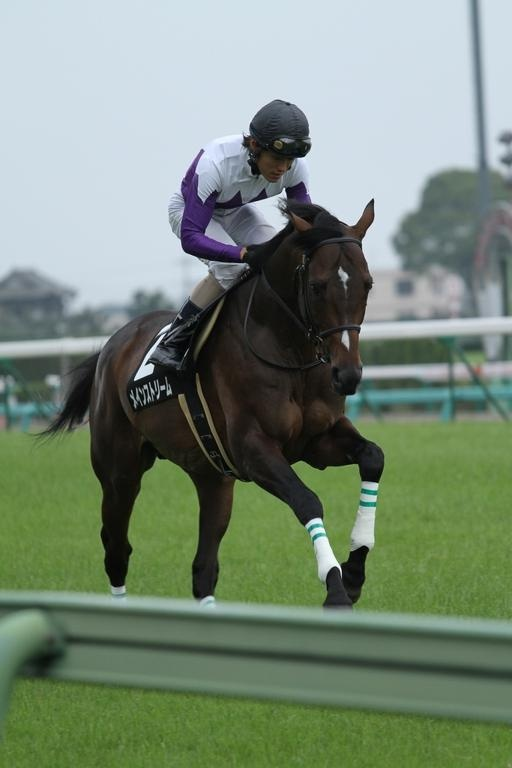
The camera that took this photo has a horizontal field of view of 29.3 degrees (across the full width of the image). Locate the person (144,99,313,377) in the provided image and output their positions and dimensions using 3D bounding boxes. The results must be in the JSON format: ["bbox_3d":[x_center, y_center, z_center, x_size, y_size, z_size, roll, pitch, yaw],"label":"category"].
[{"bbox_3d":[-0.025,-0.481,3.171,0.601,0.893,0.498,29,36,34],"label":"person"}]

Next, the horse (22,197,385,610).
[{"bbox_3d":[-0.268,0.151,3.481,0.467,1.238,2.148,2,-1,-33],"label":"horse"}]
